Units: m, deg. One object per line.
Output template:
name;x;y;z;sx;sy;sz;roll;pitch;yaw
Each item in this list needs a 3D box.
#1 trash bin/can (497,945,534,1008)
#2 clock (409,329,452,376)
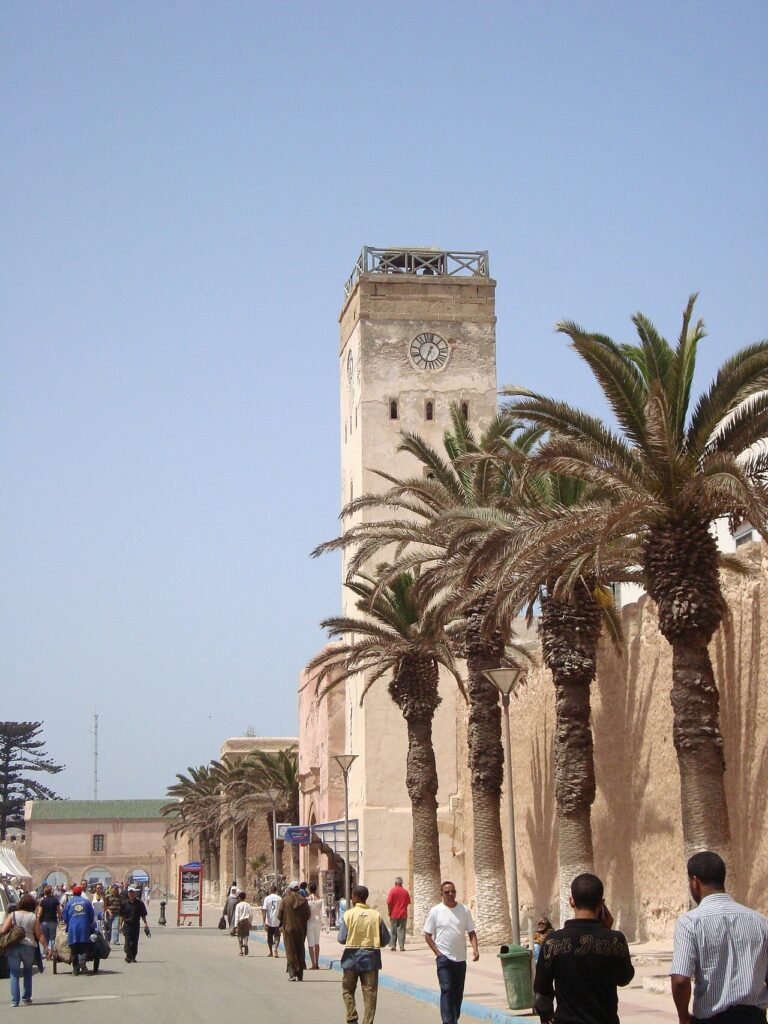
trash bin/can;1.378;4.811;20.209;0.301;0.651;0.611;-2;-13;4
clock;1.314;-4.606;57.421;0.972;1.025;0.052;-28;-5;-13
